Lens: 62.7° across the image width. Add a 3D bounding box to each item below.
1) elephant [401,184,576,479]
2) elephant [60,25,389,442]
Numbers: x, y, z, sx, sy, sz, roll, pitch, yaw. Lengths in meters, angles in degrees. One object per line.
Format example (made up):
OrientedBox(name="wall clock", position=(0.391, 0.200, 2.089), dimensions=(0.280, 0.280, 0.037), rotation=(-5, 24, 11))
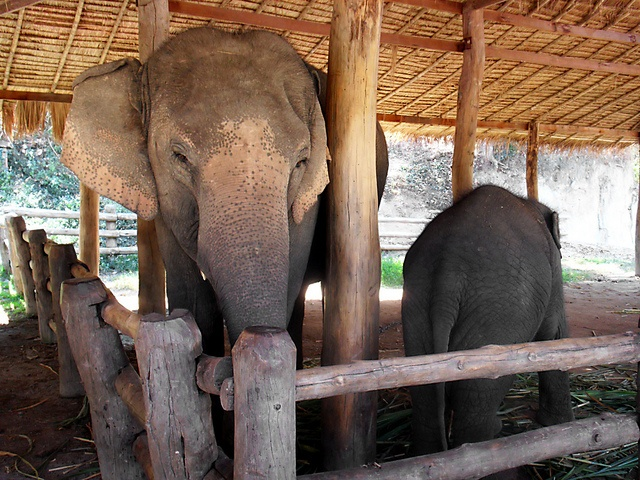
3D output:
OrientedBox(name="elephant", position=(1.046, 0.543, 3.152), dimensions=(1.019, 1.742, 0.629), rotation=(-2, 4, -20))
OrientedBox(name="elephant", position=(-0.828, -0.193, 3.718), dimensions=(1.718, 2.136, 2.809), rotation=(-2, 14, -24))
